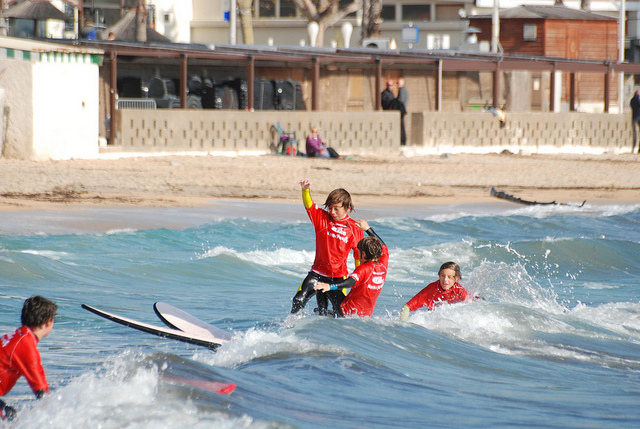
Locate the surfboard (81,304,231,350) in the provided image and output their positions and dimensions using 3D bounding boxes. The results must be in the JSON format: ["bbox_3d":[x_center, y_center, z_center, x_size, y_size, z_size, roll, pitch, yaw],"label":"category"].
[{"bbox_3d":[-3.186,2.310,25.522,2.673,0.844,0.517,-1,4,-4],"label":"surfboard"}]

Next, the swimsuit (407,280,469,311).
[{"bbox_3d":[2.491,1.687,26.342,1.845,0.884,0.747,1,-3,8],"label":"swimsuit"}]

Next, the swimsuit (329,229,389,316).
[{"bbox_3d":[0.829,1.265,25.812,1.082,1.616,0.469,-1,4,0],"label":"swimsuit"}]

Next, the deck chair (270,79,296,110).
[{"bbox_3d":[-1.455,-4.856,46.748,0.875,1.612,1.226,0,47,-8],"label":"deck chair"}]
